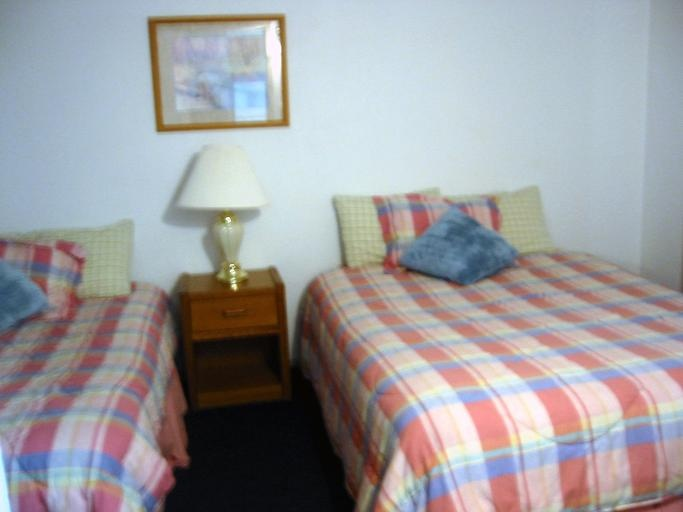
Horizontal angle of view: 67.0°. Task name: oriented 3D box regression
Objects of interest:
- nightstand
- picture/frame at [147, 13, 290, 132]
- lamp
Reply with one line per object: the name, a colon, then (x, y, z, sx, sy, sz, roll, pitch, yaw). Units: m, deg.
nightstand: (-0.668, 0.490, 3.193, 0.617, 0.747, 0.500, -4, 16, -18)
picture/frame: (-0.777, -1.139, 3.119, 0.674, 0.594, 0.049, -2, 14, -6)
lamp: (-0.702, -0.239, 3.129, 0.508, 0.840, 0.498, -7, 12, -23)
